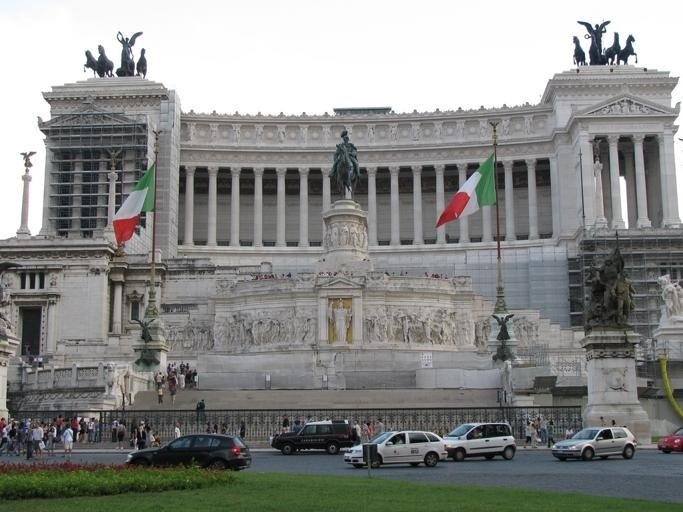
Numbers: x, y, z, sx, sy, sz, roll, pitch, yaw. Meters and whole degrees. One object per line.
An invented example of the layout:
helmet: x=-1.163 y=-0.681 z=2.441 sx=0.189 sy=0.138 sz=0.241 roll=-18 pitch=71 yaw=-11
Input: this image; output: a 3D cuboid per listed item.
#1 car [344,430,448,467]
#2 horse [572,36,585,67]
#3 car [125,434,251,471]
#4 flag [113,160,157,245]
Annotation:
car: x=2.475 y=7.801 z=60.087 sx=4.418 sy=1.567 sz=1.293 roll=5 pitch=-13 yaw=-25
horse: x=19.379 y=-16.629 z=117.002 sx=0.870 sy=3.146 sz=2.502 roll=-3 pitch=-12 yaw=9
car: x=-5.816 y=7.445 z=56.303 sx=4.310 sy=1.429 sz=1.662 roll=0 pitch=-7 yaw=2
flag: x=-12.223 y=-3.035 z=84.736 sx=2.144 sy=8.072 sz=1.166 roll=-2 pitch=-2 yaw=2
